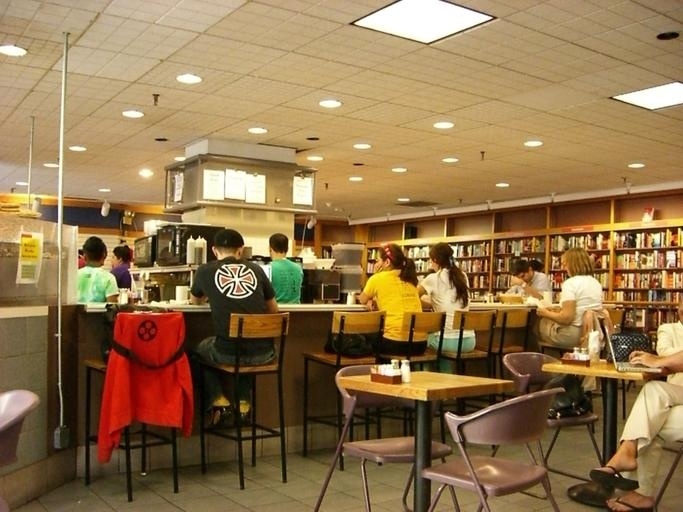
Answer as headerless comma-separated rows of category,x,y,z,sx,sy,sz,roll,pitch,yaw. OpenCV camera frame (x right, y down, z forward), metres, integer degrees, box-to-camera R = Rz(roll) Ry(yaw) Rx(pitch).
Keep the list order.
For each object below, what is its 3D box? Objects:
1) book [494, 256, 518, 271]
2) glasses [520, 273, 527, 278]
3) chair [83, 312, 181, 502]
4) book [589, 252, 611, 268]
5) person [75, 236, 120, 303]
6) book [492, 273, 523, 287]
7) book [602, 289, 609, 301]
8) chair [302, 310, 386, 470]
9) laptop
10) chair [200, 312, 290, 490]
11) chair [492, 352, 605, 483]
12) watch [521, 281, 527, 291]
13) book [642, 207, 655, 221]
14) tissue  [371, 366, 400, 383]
book,3.536,0.156,11.892,0.203,0.308,0.408,2,5,-23
glasses,2.588,0.268,7.874,0.091,0.074,0.115,-1,-4,15
chair,-1.572,1.110,4.265,0.744,1.380,0.704,2,-5,-22
book,4.958,0.083,10.588,0.366,0.312,0.402,-1,1,-9
person,-2.366,0.120,5.391,0.357,0.641,0.432,2,-5,-20
book,3.481,0.505,11.612,0.598,0.426,0.337,2,1,44
book,5.330,0.798,11.163,0.101,0.215,0.225,0,-4,15
chair,0.050,1.141,5.043,0.869,1.108,0.727,-4,-2,-26
laptop,1.855,0.626,3.777,0.342,0.309,0.488,-7,-10,27
chair,-0.843,1.171,4.780,0.764,1.374,1.019,1,-4,-5
chair,1.633,1.233,4.219,0.811,0.843,0.793,-1,-11,43
watch,2.595,0.413,7.865,0.090,0.092,0.034,-7,-28,28
book,5.905,-0.782,10.654,0.257,0.269,0.081,3,-22,41
tissue ,0.248,0.666,3.094,0.047,0.046,0.134,6,-6,-36
